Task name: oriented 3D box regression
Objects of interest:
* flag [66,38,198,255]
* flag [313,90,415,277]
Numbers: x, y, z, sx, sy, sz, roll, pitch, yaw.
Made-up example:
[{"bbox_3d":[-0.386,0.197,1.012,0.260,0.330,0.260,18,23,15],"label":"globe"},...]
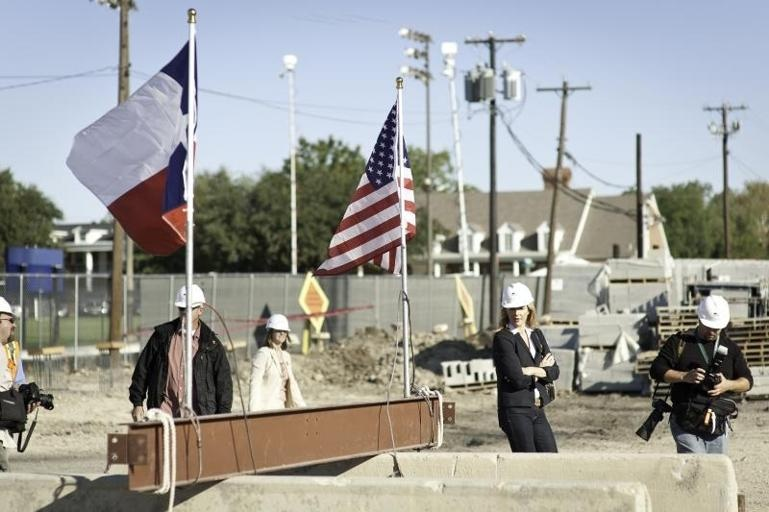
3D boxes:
[{"bbox_3d":[-6.653,-2.640,55.616,3.148,7.666,3.523,3,-3,-21],"label":"flag"},{"bbox_3d":[-0.292,-1.859,57.676,2.333,4.756,0.935,-1,-5,0],"label":"flag"}]
